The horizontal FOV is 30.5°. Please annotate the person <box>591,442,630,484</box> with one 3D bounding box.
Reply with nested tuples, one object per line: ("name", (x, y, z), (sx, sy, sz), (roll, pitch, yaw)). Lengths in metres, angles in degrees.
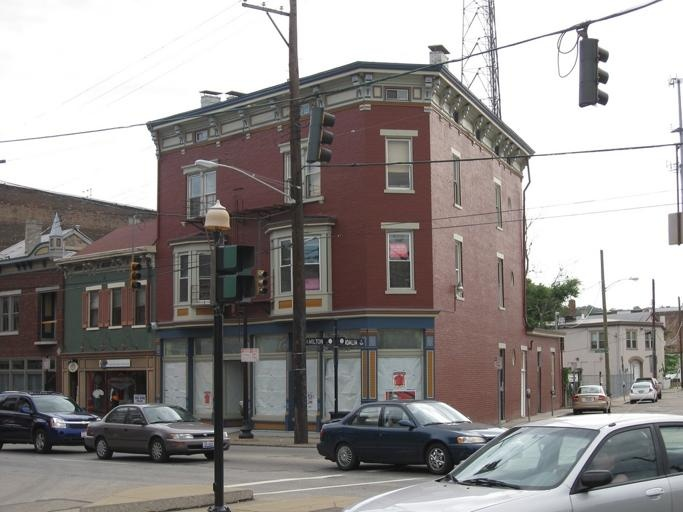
("person", (6.040, 4.894, 29.630), (0.880, 1.140, 0.972), (4, -8, -20))
